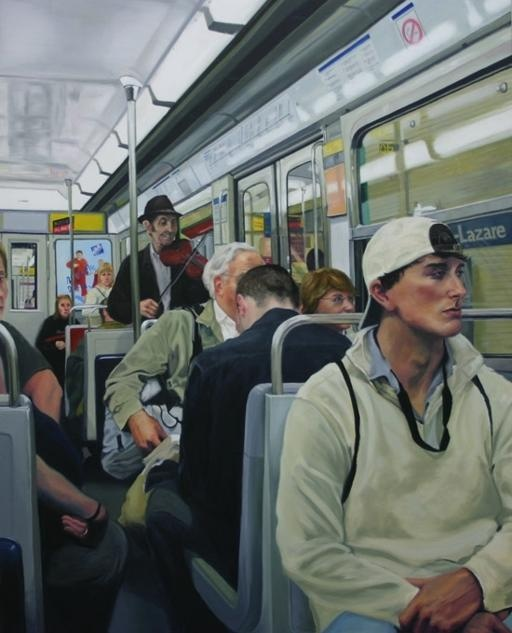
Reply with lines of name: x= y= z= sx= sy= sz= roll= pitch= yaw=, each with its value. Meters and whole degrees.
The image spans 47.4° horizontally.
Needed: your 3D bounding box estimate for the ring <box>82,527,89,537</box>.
ring: x=-0.597 y=0.756 z=2.051 sx=0.014 sy=0.032 sz=0.007 roll=32 pitch=-1 yaw=-24
